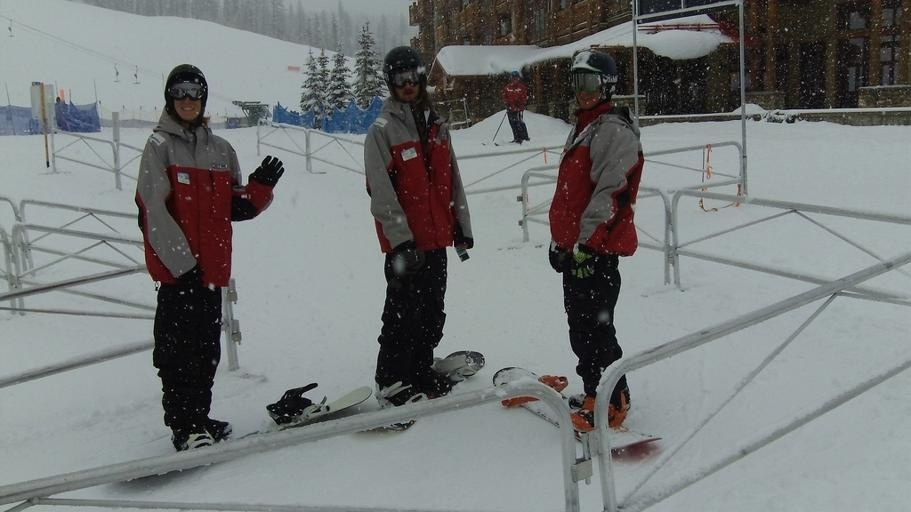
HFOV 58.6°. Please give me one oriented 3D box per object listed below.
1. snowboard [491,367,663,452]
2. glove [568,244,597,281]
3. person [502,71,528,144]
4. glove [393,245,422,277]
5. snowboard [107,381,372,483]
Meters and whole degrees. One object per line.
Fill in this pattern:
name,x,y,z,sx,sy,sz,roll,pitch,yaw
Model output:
snowboard,1.907,2.518,12.988,2.385,0.356,0.645,28,47,35
glove,2.076,0.124,13.052,0.412,0.520,0.191,6,14,-4
person,1.979,-4.839,26.405,0.808,2.266,1.186,0,11,6
glove,-0.802,0.076,13.579,0.387,0.421,0.484,10,2,0
snowboard,-3.463,2.891,13.028,2.774,0.488,0.657,-19,49,-15
